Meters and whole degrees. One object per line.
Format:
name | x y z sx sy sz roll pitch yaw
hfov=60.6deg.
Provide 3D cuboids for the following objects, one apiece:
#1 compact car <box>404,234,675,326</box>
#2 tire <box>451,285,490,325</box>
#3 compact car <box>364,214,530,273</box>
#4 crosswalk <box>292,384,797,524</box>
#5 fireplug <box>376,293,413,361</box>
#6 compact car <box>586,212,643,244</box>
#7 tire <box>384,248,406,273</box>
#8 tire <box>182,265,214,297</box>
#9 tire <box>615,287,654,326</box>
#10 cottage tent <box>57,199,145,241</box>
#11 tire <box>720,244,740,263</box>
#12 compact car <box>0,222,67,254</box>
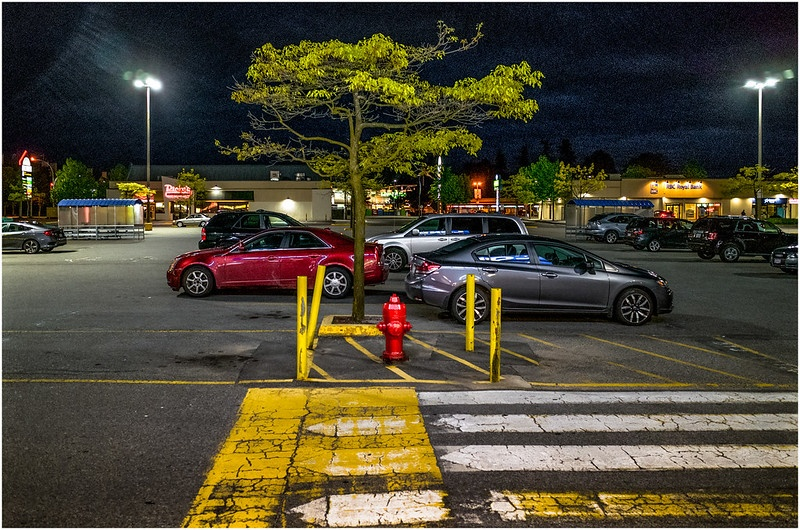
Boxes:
compact car | 3.122 0.271 15.471 5.230 1.664 2.331 -1 1 -3
tire | 1.453 0.797 14.240 0.831 0.801 0.276 -8 3 0
compact car | 1.505 -0.721 21.903 5.081 1.673 2.113 1 1 6
crosswalk | 2.111 2.418 8.944 6.503 0.259 3.061 -1 12 -6
fireplug | -0.099 1.081 11.706 0.526 1.229 0.394 2 13 5
compact car | 13.115 -2.299 41.901 3.120 1.149 1.383 -5 9 -5
tire | -0.195 -0.195 22.636 0.821 0.790 0.269 -1 4 -3
tire | -5.270 0.391 17.775 0.828 0.797 0.287 0 7 -2
tire | 5.055 0.861 14.789 0.810 0.780 0.324 5 2 -3
cottage tent | -19.378 -2.861 44.261 4.938 2.538 3.277 -6 14 -26
tire | 14.282 -0.516 29.625 0.570 0.569 0.216 -40 9 8
compact car | -16.975 -1.180 31.568 2.675 0.851 1.173 4 4 -10
